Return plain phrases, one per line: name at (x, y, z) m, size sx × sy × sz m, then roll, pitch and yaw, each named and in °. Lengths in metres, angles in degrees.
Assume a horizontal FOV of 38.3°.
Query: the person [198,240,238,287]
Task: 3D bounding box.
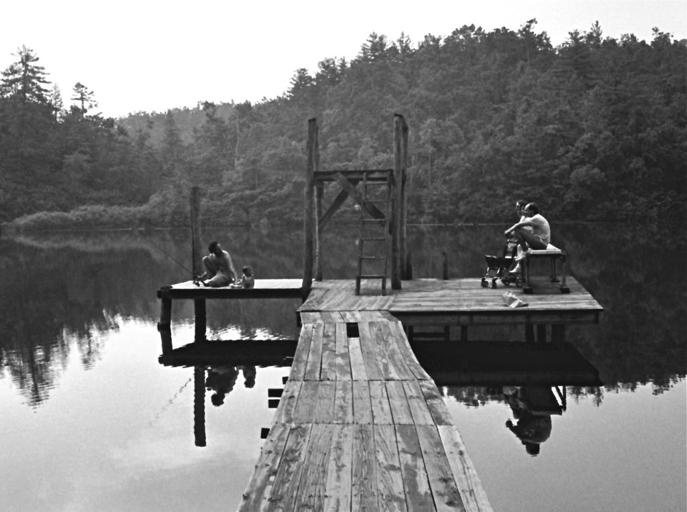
person at (-4.419, 0.232, 34.447) m, size 1.314 × 1.565 × 0.748 m, roll -1°, pitch 5°, yaw 3°
